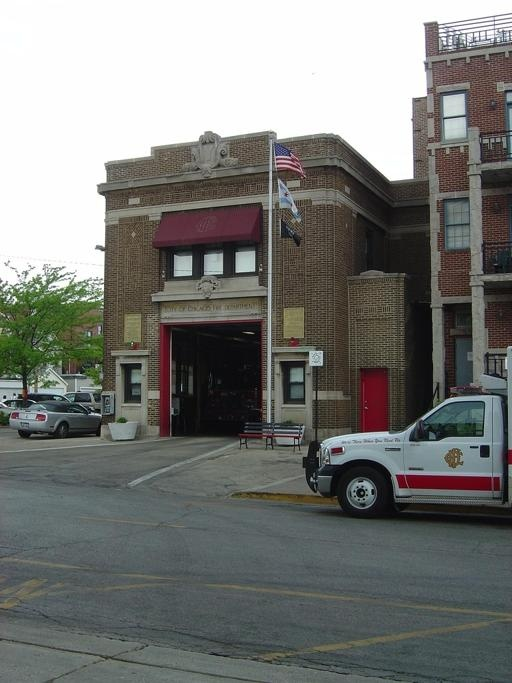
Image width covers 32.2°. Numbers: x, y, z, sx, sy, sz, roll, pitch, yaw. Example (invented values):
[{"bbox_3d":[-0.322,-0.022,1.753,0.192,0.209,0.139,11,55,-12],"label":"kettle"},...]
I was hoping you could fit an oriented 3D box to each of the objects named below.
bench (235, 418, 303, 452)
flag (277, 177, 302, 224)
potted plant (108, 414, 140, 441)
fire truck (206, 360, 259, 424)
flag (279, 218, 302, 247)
[{"bbox_3d":[0.586,2.622,24.842,1.767,0.806,1.393,1,-3,26],"label":"bench"},{"bbox_3d":[1.020,-4.171,26.487,0.176,1.444,1.392,-26,-43,26],"label":"flag"},{"bbox_3d":[-4.302,2.904,28.847,0.946,0.765,0.788,2,-8,-16],"label":"potted plant"},{"bbox_3d":[-0.778,2.262,36.763,1.961,2.472,1.239,-2,-3,27],"label":"fire truck"},{"bbox_3d":[1.039,-3.228,26.386,0.080,0.563,0.978,-20,-24,25],"label":"flag"}]
